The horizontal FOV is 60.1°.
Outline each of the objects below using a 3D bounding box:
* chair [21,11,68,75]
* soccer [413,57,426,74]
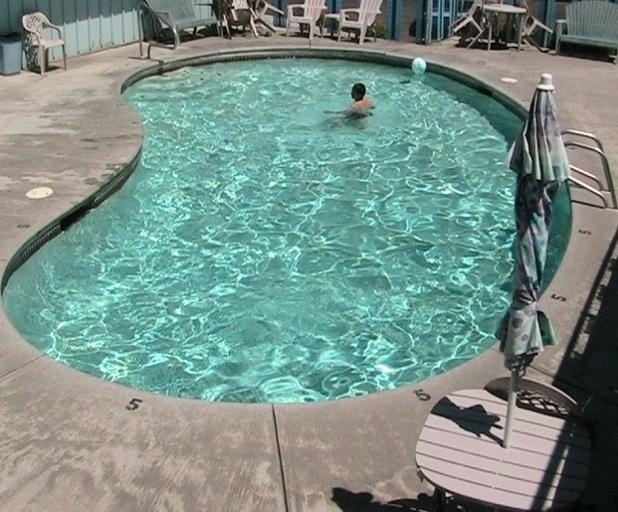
[{"bbox_3d":[-5.224,-4.211,10.575,0.692,0.967,0.714,12,30,5],"label":"chair"},{"bbox_3d":[2.480,-4.306,12.087,0.320,0.336,0.426,5,24,10],"label":"soccer"}]
